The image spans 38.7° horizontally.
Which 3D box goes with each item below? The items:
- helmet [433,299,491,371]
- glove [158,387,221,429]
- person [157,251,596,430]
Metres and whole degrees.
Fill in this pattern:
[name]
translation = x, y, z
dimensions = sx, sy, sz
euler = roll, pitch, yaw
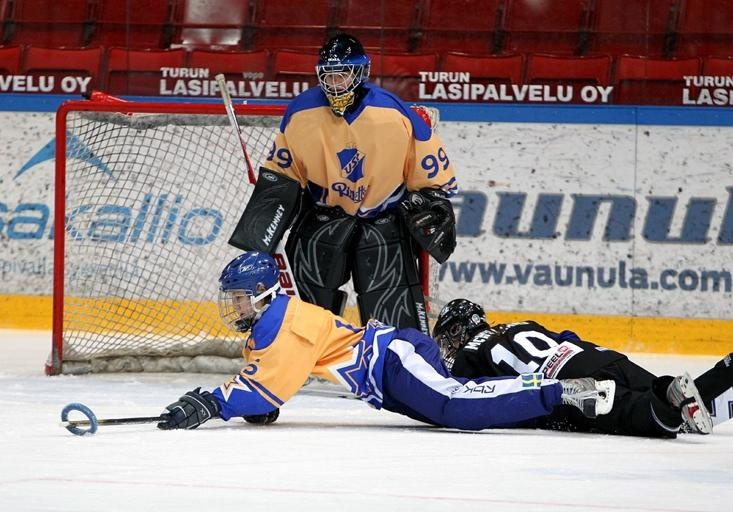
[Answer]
[helmet]
translation = 0.458, 0.431, 5.712
dimensions = 0.380, 0.340, 0.291
euler = -17, -14, 15
[glove]
translation = -0.836, 0.735, 4.940
dimensions = 0.293, 0.159, 0.110
euler = -29, -26, -25
[person]
translation = 0.104, 0.484, 5.431
dimensions = 2.139, 0.751, 0.850
euler = 2, -13, 0
